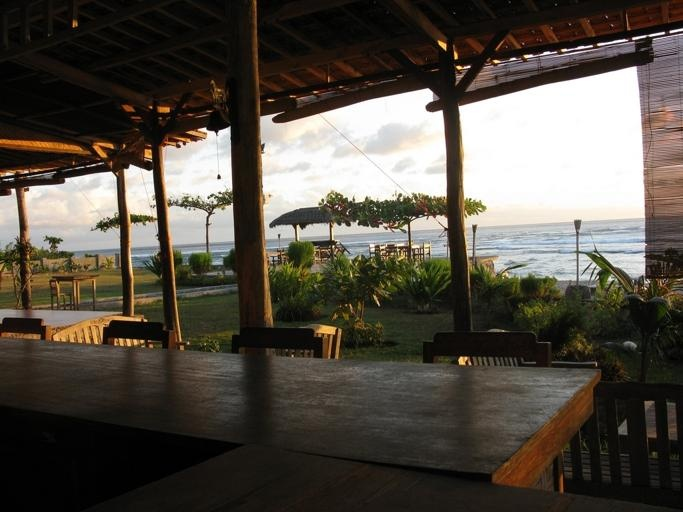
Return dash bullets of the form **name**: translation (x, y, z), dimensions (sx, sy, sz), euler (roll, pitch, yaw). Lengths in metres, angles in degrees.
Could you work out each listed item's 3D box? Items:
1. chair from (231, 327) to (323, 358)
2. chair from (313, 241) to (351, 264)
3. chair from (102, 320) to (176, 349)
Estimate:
- **chair**: translation (-0.301, 0.395, 2.695), dimensions (0.483, 0.139, 0.165), euler (-2, 0, 21)
- **chair**: translation (-0.441, -0.143, 25.349), dimensions (1.390, 0.657, 0.969), euler (0, 3, 36)
- **chair**: translation (-1.070, 0.404, 3.012), dimensions (0.596, 0.138, 0.139), euler (-2, 0, 37)
